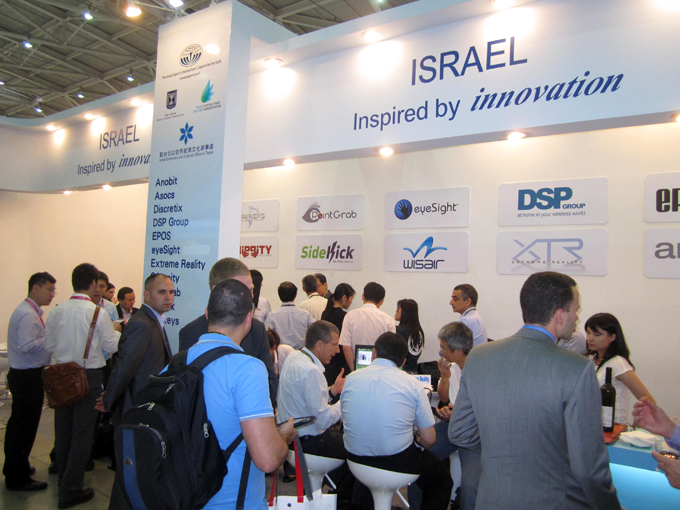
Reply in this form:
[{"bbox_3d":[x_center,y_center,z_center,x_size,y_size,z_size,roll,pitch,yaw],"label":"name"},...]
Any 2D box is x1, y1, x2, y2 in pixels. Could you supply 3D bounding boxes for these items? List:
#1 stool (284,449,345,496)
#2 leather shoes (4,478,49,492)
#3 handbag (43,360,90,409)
[{"bbox_3d":[-0.167,1.473,3.419,0.357,0.300,0.359,-2,-14,12],"label":"stool"},{"bbox_3d":[-2.565,1.917,4.080,0.304,0.132,0.115,1,-10,-12],"label":"leather shoes"},{"bbox_3d":[-2.111,1.014,3.833,0.316,0.336,0.175,-4,-10,9],"label":"handbag"}]
